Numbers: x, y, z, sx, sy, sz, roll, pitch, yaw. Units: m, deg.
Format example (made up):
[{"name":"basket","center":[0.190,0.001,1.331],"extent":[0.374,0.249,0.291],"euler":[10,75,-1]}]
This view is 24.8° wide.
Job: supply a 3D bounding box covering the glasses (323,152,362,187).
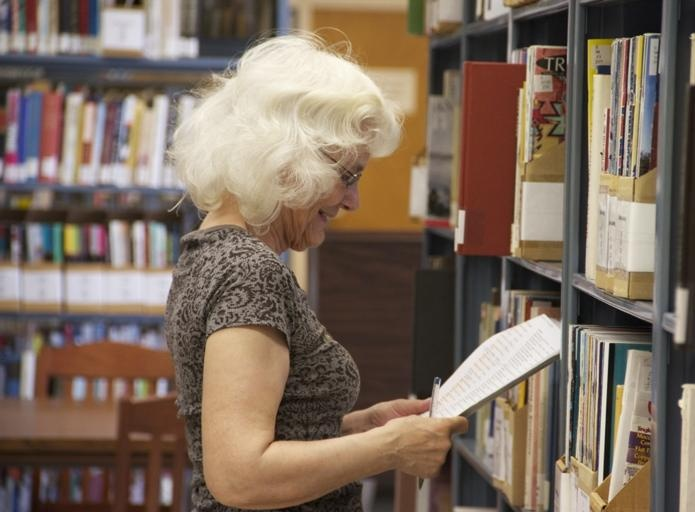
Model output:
[{"name":"glasses","center":[-0.017,-0.253,4.614],"extent":[0.089,0.038,0.108],"euler":[22,7,-41]}]
